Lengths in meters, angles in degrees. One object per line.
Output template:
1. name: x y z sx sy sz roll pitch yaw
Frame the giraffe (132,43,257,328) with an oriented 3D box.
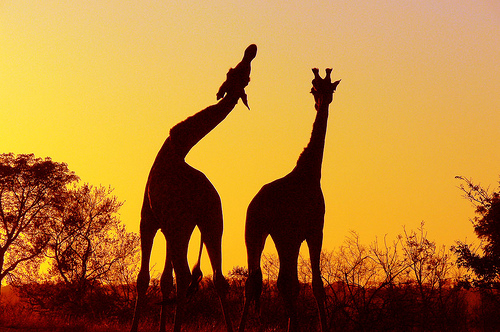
1. giraffe: -2.105 1.173 35.694 3.394 8.308 5.645 6 -36 -8
